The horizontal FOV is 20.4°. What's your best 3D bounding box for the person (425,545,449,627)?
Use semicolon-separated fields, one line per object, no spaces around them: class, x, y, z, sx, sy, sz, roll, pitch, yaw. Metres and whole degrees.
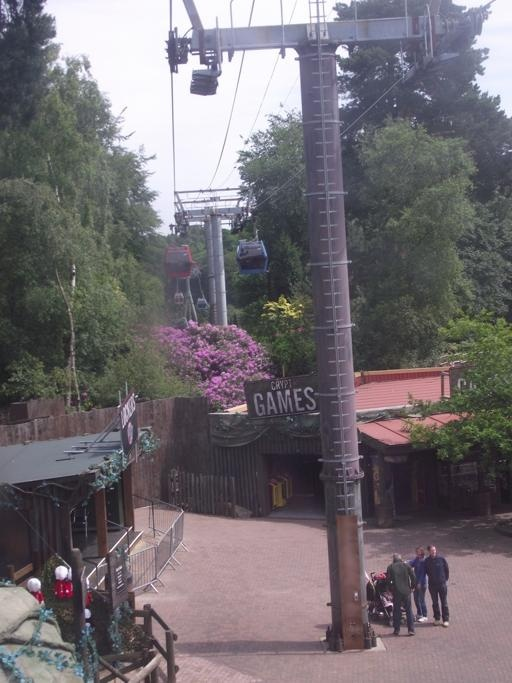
person;4.111;5.484;31.733;0.494;1.686;0.842;0;9;-24

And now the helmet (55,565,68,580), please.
helmet;-3.767;4.526;27.694;0.189;0.263;0.286;-2;-28;-14

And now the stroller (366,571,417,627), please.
stroller;3.017;5.897;32.373;0.718;1.107;1.094;1;-5;-19

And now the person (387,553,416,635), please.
person;3.201;5.640;31.417;0.698;1.728;0.577;5;8;7
